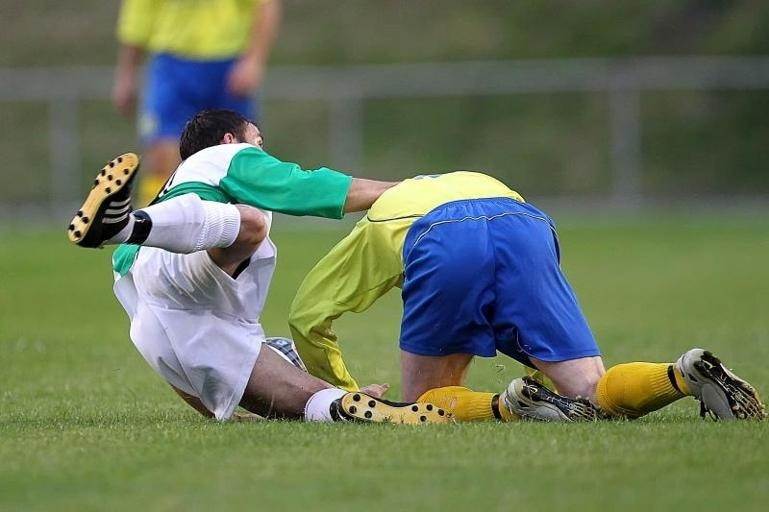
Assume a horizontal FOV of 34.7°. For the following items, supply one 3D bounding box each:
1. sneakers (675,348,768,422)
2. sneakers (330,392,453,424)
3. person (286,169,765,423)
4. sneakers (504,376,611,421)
[{"bbox_3d":[1.564,0.601,5.904,0.433,0.282,0.222,39,-3,-16],"label":"sneakers"},{"bbox_3d":[0.016,0.745,5.848,0.508,0.146,0.199,2,-7,-12],"label":"sneakers"},{"bbox_3d":[0.619,0.225,6.056,1.212,1.068,1.943,-2,11,-43],"label":"person"},{"bbox_3d":[0.815,0.680,5.861,0.480,0.193,0.192,6,9,-2],"label":"sneakers"}]
